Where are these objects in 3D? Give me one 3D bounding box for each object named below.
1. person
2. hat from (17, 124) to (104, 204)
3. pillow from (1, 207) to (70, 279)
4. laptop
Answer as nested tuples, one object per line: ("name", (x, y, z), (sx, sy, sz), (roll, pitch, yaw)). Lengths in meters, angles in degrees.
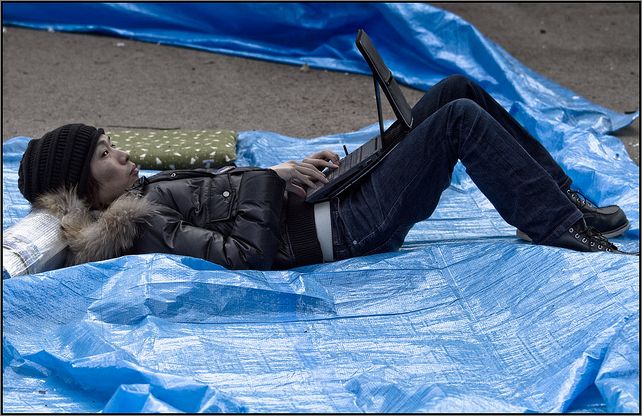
("person", (-0.018, -0.119, 2.174), (2.041, 0.615, 0.601), (5, 37, -5))
("hat", (-0.883, -0.143, 2.228), (0.228, 0.290, 0.199), (52, 10, 33))
("pillow", (-0.920, 0.122, 2.033), (0.151, 0.140, 0.224), (-15, 23, 31))
("laptop", (0.150, -0.336, 2.297), (0.479, 0.381, 0.615), (1, 69, 2))
